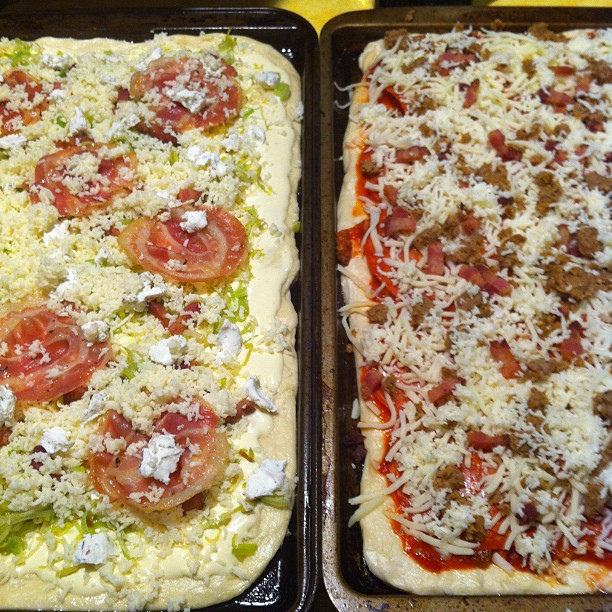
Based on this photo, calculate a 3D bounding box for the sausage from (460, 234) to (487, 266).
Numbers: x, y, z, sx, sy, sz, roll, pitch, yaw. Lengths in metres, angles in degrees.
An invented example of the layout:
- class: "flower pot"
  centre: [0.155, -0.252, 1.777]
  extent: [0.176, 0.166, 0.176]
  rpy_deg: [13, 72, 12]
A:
- class: "sausage"
  centre: [0.573, -0.190, 2.531]
  extent: [0.041, 0.103, 0.093]
  rpy_deg: [-15, 98, 35]

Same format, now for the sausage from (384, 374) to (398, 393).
- class: "sausage"
  centre: [0.272, 0.252, 2.420]
  extent: [0.039, 0.011, 0.043]
  rpy_deg: [-1, 87, -13]

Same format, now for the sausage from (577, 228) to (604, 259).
- class: "sausage"
  centre: [0.947, -0.214, 2.512]
  extent: [0.074, 0.036, 0.106]
  rpy_deg: [-7, 72, -2]

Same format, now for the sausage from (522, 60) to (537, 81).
- class: "sausage"
  centre: [0.853, -0.898, 2.845]
  extent: [0.059, 0.025, 0.064]
  rpy_deg: [-1, 77, 4]

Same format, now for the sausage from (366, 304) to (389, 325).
- class: "sausage"
  centre: [0.242, 0.028, 2.522]
  extent: [0.073, 0.022, 0.064]
  rpy_deg: [-3, 82, 6]

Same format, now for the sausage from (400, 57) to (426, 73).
- class: "sausage"
  centre: [0.411, -0.931, 2.876]
  extent: [0.075, 0.019, 0.065]
  rpy_deg: [-10, 47, 16]

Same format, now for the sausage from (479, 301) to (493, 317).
- class: "sausage"
  centre: [0.579, 0.008, 2.438]
  extent: [0.035, 0.016, 0.040]
  rpy_deg: [-1, 59, 12]

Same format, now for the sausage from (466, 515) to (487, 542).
- class: "sausage"
  centre: [0.513, 0.668, 2.268]
  extent: [0.061, 0.036, 0.076]
  rpy_deg: [3, 68, 49]

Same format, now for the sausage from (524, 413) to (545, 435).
- class: "sausage"
  centre: [0.712, 0.363, 2.307]
  extent: [0.063, 0.016, 0.055]
  rpy_deg: [1, 62, 1]

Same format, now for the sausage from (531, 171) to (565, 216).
- class: "sausage"
  centre: [0.837, -0.403, 2.606]
  extent: [0.111, 0.045, 0.144]
  rpy_deg: [-7, 66, 11]

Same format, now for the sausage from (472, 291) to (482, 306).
- class: "sausage"
  centre: [0.551, -0.028, 2.421]
  extent: [0.037, 0.009, 0.032]
  rpy_deg: [-24, 64, 24]

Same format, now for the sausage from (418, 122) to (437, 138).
- class: "sausage"
  centre: [0.442, -0.645, 2.728]
  extent: [0.058, 0.015, 0.053]
  rpy_deg: [23, 118, 12]

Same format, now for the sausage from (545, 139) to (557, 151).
- class: "sausage"
  centre: [0.883, -0.587, 2.715]
  extent: [0.034, 0.009, 0.043]
  rpy_deg: [29, 75, 9]

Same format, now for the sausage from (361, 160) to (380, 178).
- class: "sausage"
  centre: [0.238, -0.507, 2.733]
  extent: [0.053, 0.015, 0.054]
  rpy_deg: [-9, 49, -13]

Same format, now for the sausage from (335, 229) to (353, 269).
- class: "sausage"
  centre: [0.138, -0.209, 2.661]
  extent: [0.069, 0.037, 0.119]
  rpy_deg: [-3, 76, -4]

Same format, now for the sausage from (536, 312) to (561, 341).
- class: "sausage"
  centre: [0.780, 0.064, 2.425]
  extent: [0.090, 0.036, 0.078]
  rpy_deg: [-5, 83, -6]

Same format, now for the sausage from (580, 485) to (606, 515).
- class: "sausage"
  centre: [0.867, 0.590, 2.276]
  extent: [0.073, 0.025, 0.081]
  rpy_deg: [0, 90, 11]

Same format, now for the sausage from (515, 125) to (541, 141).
- class: "sausage"
  centre: [0.803, -0.626, 2.724]
  extent: [0.077, 0.029, 0.047]
  rpy_deg: [-27, 76, -7]

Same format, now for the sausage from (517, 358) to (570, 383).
- class: "sausage"
  centre: [0.748, 0.201, 2.364]
  extent: [0.177, 0.047, 0.071]
  rpy_deg: [-4, 73, -1]

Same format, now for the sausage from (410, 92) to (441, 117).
- class: "sausage"
  centre: [0.436, -0.753, 2.785]
  extent: [0.099, 0.030, 0.090]
  rpy_deg: [16, 86, 22]

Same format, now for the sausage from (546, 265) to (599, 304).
- class: "sausage"
  centre: [0.873, -0.080, 2.451]
  extent: [0.100, 0.040, 0.151]
  rpy_deg: [-18, 46, -11]

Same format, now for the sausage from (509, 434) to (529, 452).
- class: "sausage"
  centre: [0.653, 0.414, 2.263]
  extent: [0.047, 0.012, 0.041]
  rpy_deg: [-2, 74, -8]

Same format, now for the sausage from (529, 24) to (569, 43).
- class: "sausage"
  centre: [0.953, -1.081, 2.960]
  extent: [0.125, 0.076, 0.055]
  rpy_deg: [18, 84, -22]

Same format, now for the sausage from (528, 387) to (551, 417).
- class: "sausage"
  centre: [0.722, 0.290, 2.297]
  extent: [0.065, 0.023, 0.072]
  rpy_deg: [2, 73, 0]

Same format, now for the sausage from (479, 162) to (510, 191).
- class: "sausage"
  centre: [0.659, -0.458, 2.632]
  extent: [0.097, 0.031, 0.109]
  rpy_deg: [-2, 72, 0]

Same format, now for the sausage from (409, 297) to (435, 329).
- class: "sausage"
  centre: [0.377, 0.017, 2.489]
  extent: [0.056, 0.041, 0.110]
  rpy_deg: [35, 76, 10]

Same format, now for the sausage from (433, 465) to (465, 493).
- class: "sausage"
  centre: [0.433, 0.518, 2.245]
  extent: [0.086, 0.039, 0.070]
  rpy_deg: [-5, 73, -3]

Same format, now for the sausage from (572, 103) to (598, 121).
- class: "sausage"
  centre: [1.025, -0.721, 2.778]
  extent: [0.083, 0.036, 0.051]
  rpy_deg: [24, 64, 22]

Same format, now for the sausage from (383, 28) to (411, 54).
- class: "sausage"
  centre: [0.356, -1.059, 3.007]
  extent: [0.115, 0.039, 0.099]
  rpy_deg: [-5, 83, -1]
